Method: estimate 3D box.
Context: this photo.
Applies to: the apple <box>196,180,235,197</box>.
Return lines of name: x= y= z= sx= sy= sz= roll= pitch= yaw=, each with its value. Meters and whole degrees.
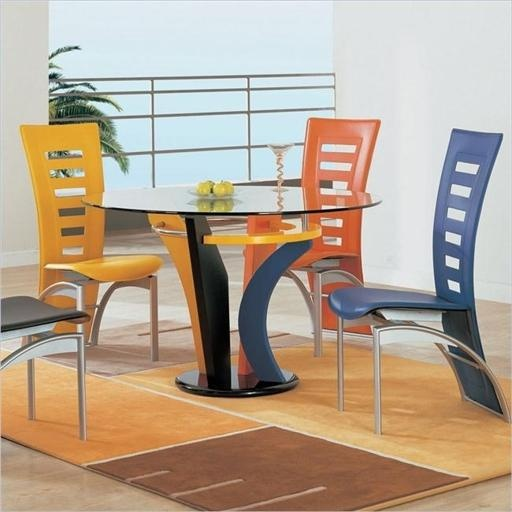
apple: x=-0.150 y=-0.258 z=2.226 sx=0.109 sy=0.038 sz=0.081 roll=1 pitch=0 yaw=-45
